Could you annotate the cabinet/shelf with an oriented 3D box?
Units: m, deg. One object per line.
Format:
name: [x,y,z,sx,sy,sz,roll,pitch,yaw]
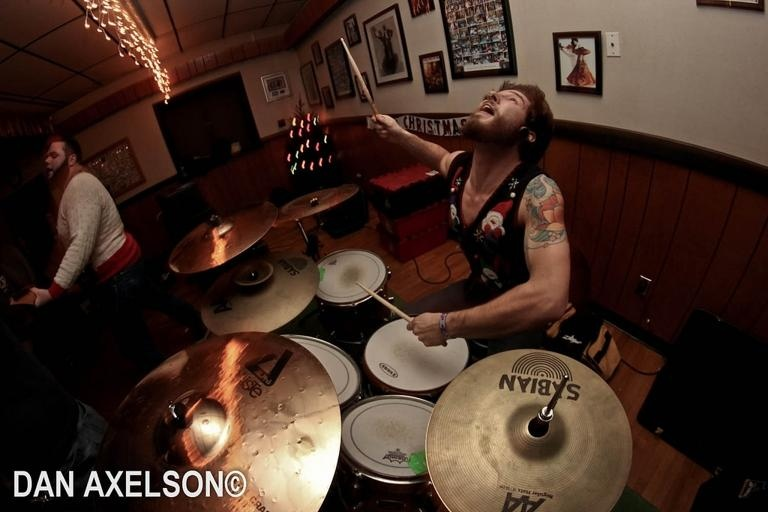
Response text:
cabinet/shelf: [0.280,-0.444,5.117,0.731,0.763,0.544,-27,33,-16]

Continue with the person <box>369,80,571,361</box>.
person: [0.724,-0.282,3.355,0.923,1.492,1.493,-2,33,12]

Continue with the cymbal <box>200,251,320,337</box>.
cymbal: [-0.952,0.295,3.733,0.678,0.162,0.688,-28,50,-19]

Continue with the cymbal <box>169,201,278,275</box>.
cymbal: [-1.441,-0.239,4.218,0.928,0.220,0.992,-9,13,25]
